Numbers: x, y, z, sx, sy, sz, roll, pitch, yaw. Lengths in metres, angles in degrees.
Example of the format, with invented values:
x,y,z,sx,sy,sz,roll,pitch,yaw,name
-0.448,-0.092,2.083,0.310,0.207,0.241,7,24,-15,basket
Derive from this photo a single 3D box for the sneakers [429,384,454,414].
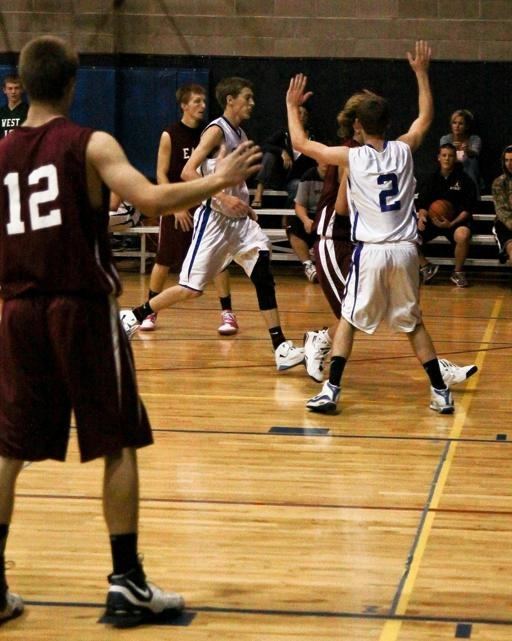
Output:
x,y,z,sx,sy,sz,roll,pitch,yaw,name
0.957,0.414,3.467,0.074,0.095,0.184,-1,7,-1,sneakers

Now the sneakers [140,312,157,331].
x,y,z,sx,sy,sz,roll,pitch,yaw,name
-0.913,0.020,5.598,0.088,0.106,0.248,4,10,-3,sneakers

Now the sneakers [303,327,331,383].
x,y,z,sx,sy,sz,roll,pitch,yaw,name
0.349,0.195,3.934,0.158,0.354,0.117,-20,-19,39,sneakers

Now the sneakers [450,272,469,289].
x,y,z,sx,sy,sz,roll,pitch,yaw,name
2.468,-0.502,8.085,0.109,0.124,0.271,-2,8,-6,sneakers

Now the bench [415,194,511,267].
x,y,z,sx,sy,sz,roll,pitch,yaw,name
2.868,-1.020,8.544,1.336,0.321,0.922,-3,43,6,bench

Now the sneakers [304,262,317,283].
x,y,z,sx,sy,sz,roll,pitch,yaw,name
0.646,-0.576,8.085,0.112,0.155,0.334,-10,-9,-3,sneakers

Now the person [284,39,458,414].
x,y,z,sx,sy,sz,roll,pitch,yaw,name
0.581,-0.347,3.337,0.851,1.687,0.238,0,6,3,person
